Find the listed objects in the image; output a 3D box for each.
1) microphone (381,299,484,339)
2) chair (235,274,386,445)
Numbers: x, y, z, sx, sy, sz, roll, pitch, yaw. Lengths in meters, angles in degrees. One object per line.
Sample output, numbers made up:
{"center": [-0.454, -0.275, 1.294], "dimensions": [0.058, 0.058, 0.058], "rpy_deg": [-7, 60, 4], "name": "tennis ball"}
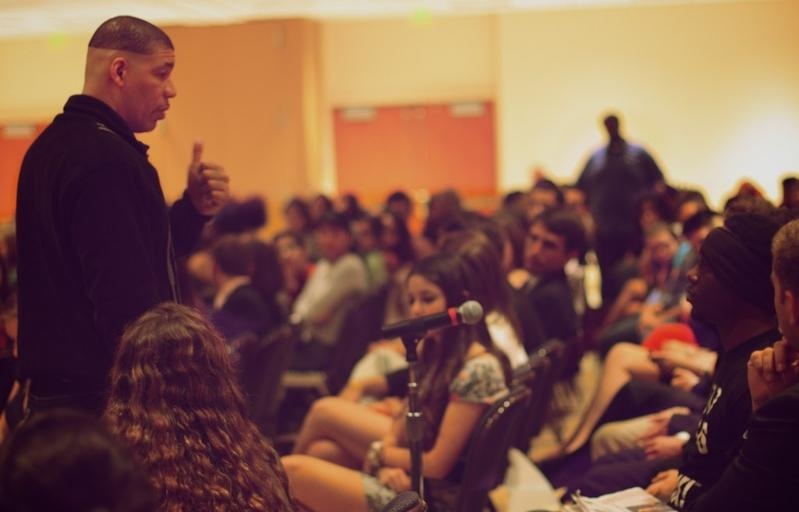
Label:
{"center": [0.160, 0.274, 3.372], "dimensions": [0.324, 0.102, 0.092], "rpy_deg": [-18, 46, 10], "name": "microphone"}
{"center": [-0.481, 0.614, 4.417], "dimensions": [0.733, 0.950, 0.586], "rpy_deg": [3, 2, 5], "name": "chair"}
